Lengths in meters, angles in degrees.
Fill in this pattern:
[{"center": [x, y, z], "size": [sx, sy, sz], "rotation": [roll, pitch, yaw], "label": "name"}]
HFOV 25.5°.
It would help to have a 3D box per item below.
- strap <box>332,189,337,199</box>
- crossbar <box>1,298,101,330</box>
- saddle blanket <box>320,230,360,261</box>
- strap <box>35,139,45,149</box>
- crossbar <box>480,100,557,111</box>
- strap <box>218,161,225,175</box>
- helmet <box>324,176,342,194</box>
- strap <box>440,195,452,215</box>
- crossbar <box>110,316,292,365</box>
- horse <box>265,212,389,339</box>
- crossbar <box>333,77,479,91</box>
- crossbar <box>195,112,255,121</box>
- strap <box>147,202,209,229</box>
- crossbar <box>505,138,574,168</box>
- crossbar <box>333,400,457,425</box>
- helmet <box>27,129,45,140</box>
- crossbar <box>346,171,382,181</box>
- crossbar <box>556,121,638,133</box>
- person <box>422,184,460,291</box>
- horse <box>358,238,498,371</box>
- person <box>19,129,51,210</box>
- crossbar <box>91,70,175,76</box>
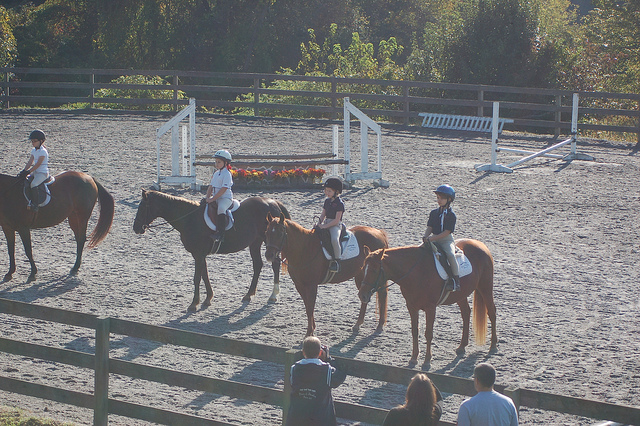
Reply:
[{"center": [0.522, -0.631, 44.458], "size": [0.154, 0.166, 0.064], "rotation": [4, -1, 28], "label": "strap"}, {"center": [-8.293, 3.082, 42.900], "size": [4.120, 0.607, 0.453], "rotation": [9, -11, -1], "label": "crossbar"}, {"center": [0.689, 1.035, 44.854], "size": [1.188, 0.766, 0.726], "rotation": [-9, 9, -6], "label": "saddle blanket"}, {"center": [-9.249, -2.309, 46.298], "size": [0.401, 0.367, 0.095], "rotation": [0, -5, 0], "label": "strap"}, {"center": [8.790, -4.687, 60.356], "size": [4.673, 0.464, 0.355], "rotation": [1, -1, -3], "label": "crossbar"}, {"center": [-3.155, -1.498, 45.612], "size": [0.092, 0.350, 0.380], "rotation": [22, -18, -11], "label": "strap"}, {"center": [0.494, -0.902, 44.600], "size": [0.496, 0.491, 0.425], "rotation": [2, 9, 6], "label": "helmet"}, {"center": [3.961, -0.214, 43.748], "size": [0.131, 0.341, 0.298], "rotation": [38, -10, -17], "label": "strap"}, {"center": [-3.750, 3.915, 42.882], "size": [6.458, 0.825, 0.542], "rotation": [7, 30, 8], "label": "crossbar"}, {"center": [0.349, 2.064, 45.445], "size": [1.593, 3.775, 5.996], "rotation": [-3, -1, 45], "label": "horse"}, {"center": [3.885, -5.683, 61.725], "size": [6.601, 0.340, 1.052], "rotation": [5, 9, 21], "label": "crossbar"}, {"center": [-4.210, -4.335, 62.456], "size": [2.764, 0.135, 0.909], "rotation": [3, 9, 14], "label": "crossbar"}, {"center": [-4.540, 0.006, 45.720], "size": [1.888, 0.187, 0.266], "rotation": [-19, -35, -2], "label": "strap"}, {"center": [8.947, -2.400, 56.492], "size": [3.224, 0.342, 0.351], "rotation": [-24, 14, -36], "label": "crossbar"}, {"center": [2.207, 5.796, 40.987], "size": [3.005, 0.377, 0.458], "rotation": [9, 42, 9], "label": "crossbar"}, {"center": [-9.363, -2.611, 46.425], "size": [0.419, 0.293, 0.500], "rotation": [-2, 9, -19], "label": "helmet"}, {"center": [1.711, -1.419, 52.682], "size": [1.328, 0.396, 0.635], "rotation": [1, 9, 0], "label": "crossbar"}, {"center": [12.082, -3.757, 59.411], "size": [3.681, 0.463, 0.259], "rotation": [7, -1, 27], "label": "crossbar"}, {"center": [3.917, 0.738, 43.828], "size": [1.186, 3.218, 0.650], "rotation": [3, 9, 9], "label": "person"}, {"center": [3.523, 2.808, 44.347], "size": [5.832, 3.961, 1.697], "rotation": [-3, 5, -39], "label": "horse"}, {"center": [-9.353, -1.447, 46.292], "size": [0.553, 2.555, 0.931], "rotation": [10, 12, 43], "label": "person"}, {"center": [-8.100, -6.352, 62.876], "size": [2.722, 0.360, 0.176], "rotation": [1, 0, 11], "label": "crossbar"}]
